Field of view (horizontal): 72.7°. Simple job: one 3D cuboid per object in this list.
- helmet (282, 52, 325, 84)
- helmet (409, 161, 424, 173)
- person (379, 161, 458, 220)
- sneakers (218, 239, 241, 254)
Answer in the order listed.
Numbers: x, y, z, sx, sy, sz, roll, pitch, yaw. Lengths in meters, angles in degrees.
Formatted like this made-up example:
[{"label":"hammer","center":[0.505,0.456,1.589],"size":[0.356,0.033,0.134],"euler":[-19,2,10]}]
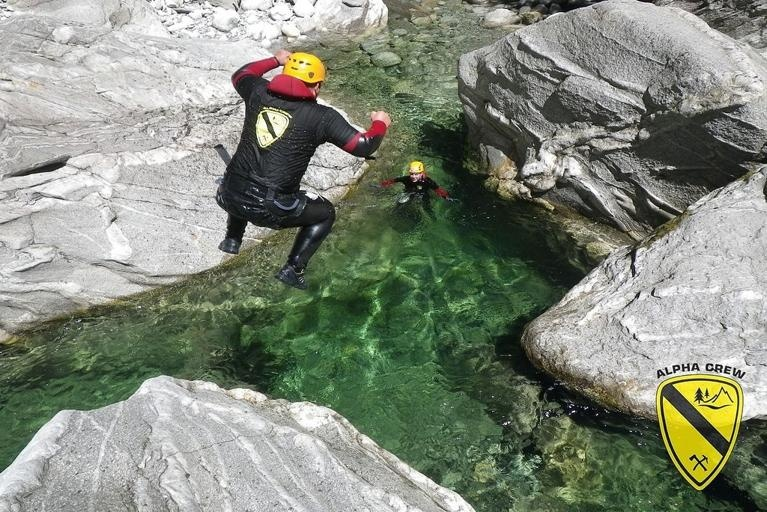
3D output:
[{"label":"helmet","center":[-0.727,-1.853,5.199],"size":[0.420,0.200,0.304],"euler":[-8,42,-47]},{"label":"helmet","center":[0.442,-1.220,7.166],"size":[0.198,0.106,0.243],"euler":[5,16,8]},{"label":"person","center":[0.467,-0.881,7.259],"size":[1.256,1.093,0.313],"euler":[4,53,3]},{"label":"sneakers","center":[-1.729,-0.098,5.912],"size":[0.249,0.148,0.162],"euler":[34,22,32]}]
